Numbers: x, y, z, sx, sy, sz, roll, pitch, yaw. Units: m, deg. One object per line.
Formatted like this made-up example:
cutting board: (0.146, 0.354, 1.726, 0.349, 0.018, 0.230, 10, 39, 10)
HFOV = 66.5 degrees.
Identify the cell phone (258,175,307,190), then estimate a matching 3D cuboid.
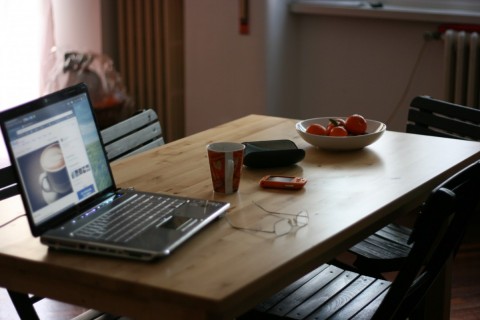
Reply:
cell phone: (0.136, 0.062, 1.133, 0.107, 0.021, 0.057, 4, 19, 17)

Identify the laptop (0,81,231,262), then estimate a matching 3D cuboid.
laptop: (-0.316, 0.020, 0.939, 0.477, 0.339, 0.422, 6, 17, 22)

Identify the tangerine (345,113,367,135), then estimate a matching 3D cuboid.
tangerine: (0.475, -0.146, 1.478, 0.079, 0.077, 0.080, -3, 7, 24)

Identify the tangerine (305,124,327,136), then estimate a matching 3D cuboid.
tangerine: (0.302, -0.127, 1.440, 0.065, 0.047, 0.049, 16, 18, 12)

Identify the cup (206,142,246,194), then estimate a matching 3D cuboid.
cup: (-0.043, 0.025, 1.161, 0.132, 0.142, 0.154, -11, 21, -30)

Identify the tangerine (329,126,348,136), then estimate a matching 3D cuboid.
tangerine: (0.376, -0.096, 1.394, 0.049, 0.047, 0.045, 2, -9, -34)
